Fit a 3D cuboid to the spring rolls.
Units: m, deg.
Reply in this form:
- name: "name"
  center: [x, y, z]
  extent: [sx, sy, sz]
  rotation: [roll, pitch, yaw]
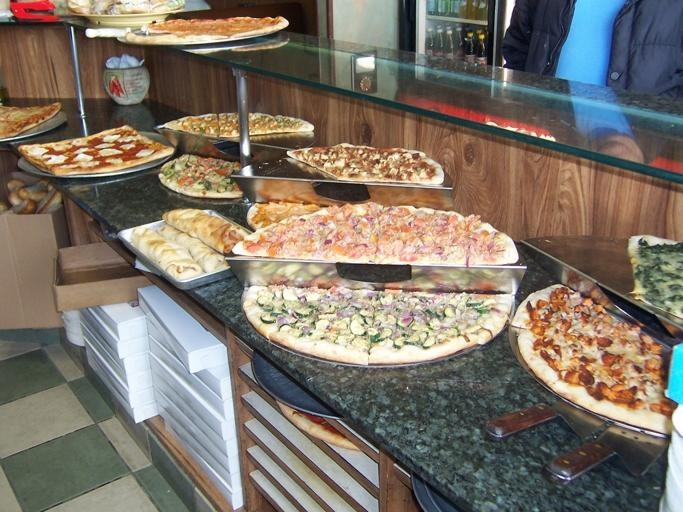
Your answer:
- name: "spring rolls"
  center: [-0.473, -0.042, 1.661]
  extent: [0.299, 0.109, 0.484]
  rotation: [-16, 30, -31]

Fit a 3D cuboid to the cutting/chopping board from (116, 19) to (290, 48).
- name: "cutting/chopping board"
  center: [-0.442, -0.721, 1.700]
  extent: [0.593, 0.066, 0.418]
  rotation: [14, 24, 39]

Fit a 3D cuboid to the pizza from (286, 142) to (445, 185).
- name: "pizza"
  center: [0.079, -0.282, 1.625]
  extent: [0.486, 0.078, 0.311]
  rotation: [5, 19, 21]

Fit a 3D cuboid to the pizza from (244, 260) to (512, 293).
- name: "pizza"
  center: [0.096, 0.088, 1.226]
  extent: [0.638, 0.071, 0.095]
  rotation: [3, 22, 7]

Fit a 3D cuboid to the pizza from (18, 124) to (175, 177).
- name: "pizza"
  center: [-1.134, -0.480, 2.452]
  extent: [0.484, 0.048, 0.416]
  rotation: [-18, 31, -33]

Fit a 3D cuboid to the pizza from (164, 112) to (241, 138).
- name: "pizza"
  center: [-0.635, -0.597, 2.378]
  extent: [0.345, 0.070, 0.625]
  rotation: [-8, 26, -19]

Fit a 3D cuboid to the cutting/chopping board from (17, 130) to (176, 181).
- name: "cutting/chopping board"
  center: [-1.139, -0.488, 2.457]
  extent: [0.635, 0.118, 0.582]
  rotation: [-14, 29, -29]

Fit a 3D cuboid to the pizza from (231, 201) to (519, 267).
- name: "pizza"
  center: [0.099, -0.066, 1.324]
  extent: [0.662, 0.070, 0.319]
  rotation: [5, 25, 9]
